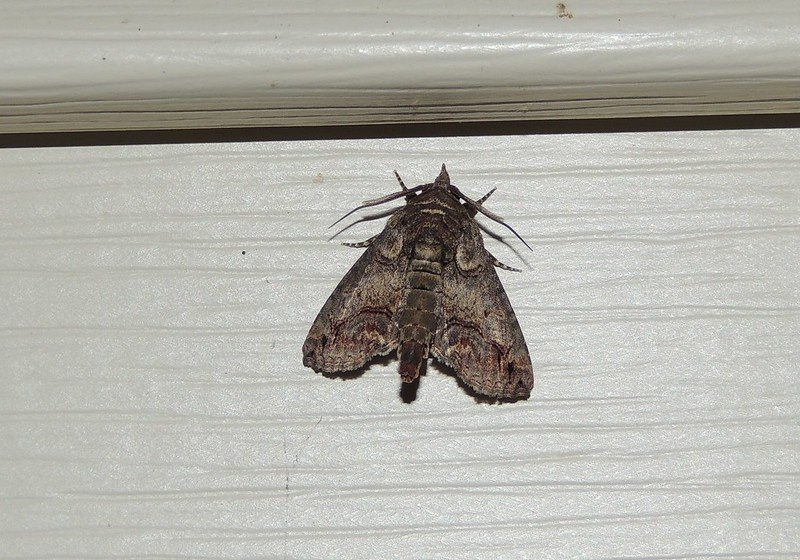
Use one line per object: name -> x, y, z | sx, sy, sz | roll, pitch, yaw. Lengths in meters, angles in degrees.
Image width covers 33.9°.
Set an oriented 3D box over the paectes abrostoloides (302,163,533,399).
paectes abrostoloides -> 0.098, 0.020, 7.004 | 1.523, 1.019, 2.033 | 1, 15, -2
